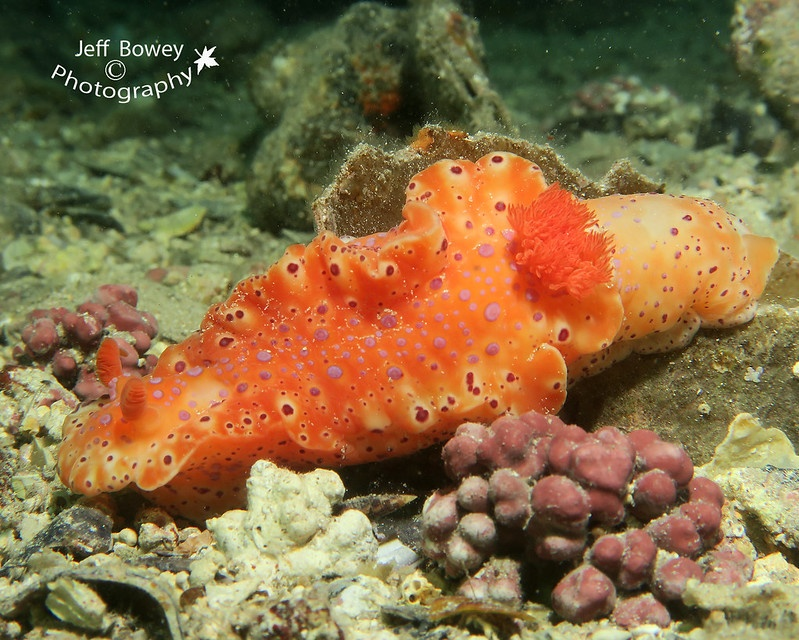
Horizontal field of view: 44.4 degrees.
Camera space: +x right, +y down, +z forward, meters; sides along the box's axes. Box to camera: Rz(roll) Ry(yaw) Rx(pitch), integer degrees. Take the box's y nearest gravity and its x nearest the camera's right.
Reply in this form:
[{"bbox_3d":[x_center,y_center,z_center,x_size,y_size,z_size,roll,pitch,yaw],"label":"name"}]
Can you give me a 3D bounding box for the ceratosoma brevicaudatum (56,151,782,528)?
[{"bbox_3d":[0.242,0.024,5.227,3.870,1.618,1.560,-17,20,-13],"label":"ceratosoma brevicaudatum"}]
